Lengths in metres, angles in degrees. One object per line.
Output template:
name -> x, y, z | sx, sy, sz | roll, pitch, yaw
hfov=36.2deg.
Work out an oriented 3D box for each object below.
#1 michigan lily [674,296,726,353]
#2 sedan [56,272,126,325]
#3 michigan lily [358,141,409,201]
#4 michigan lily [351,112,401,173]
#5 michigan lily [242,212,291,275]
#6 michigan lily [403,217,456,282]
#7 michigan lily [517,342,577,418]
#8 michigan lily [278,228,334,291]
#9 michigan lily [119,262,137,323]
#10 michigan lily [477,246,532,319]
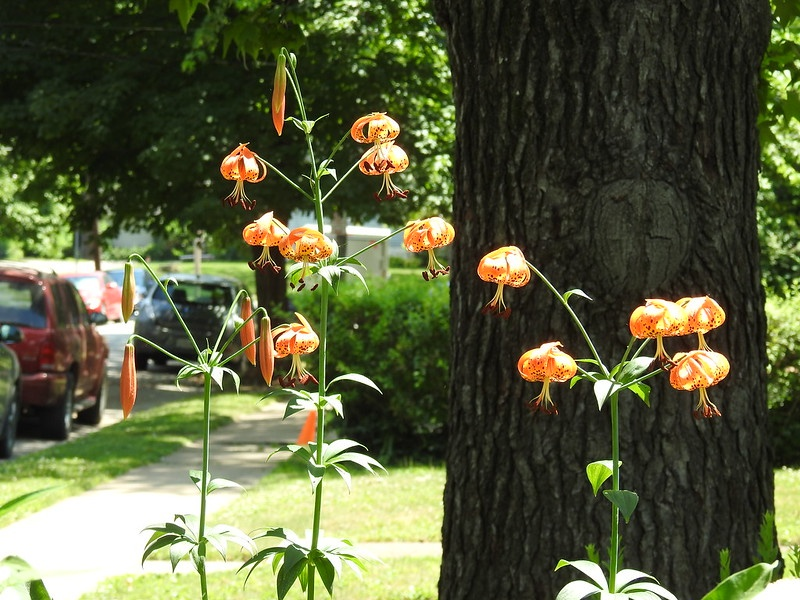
michigan lily -> 1.600, 0.120, 6.415 | 0.246, 0.348, 0.263 | -3, -1, 26
sedan -> -4.625, -0.033, 18.202 | 0.737, 0.688, 1.806 | 1, 6, -1
michigan lily -> -0.079, -0.759, 7.136 | 0.298, 0.366, 0.303 | 0, -2, -24
michigan lily -> -0.135, -0.961, 7.135 | 0.196, 0.269, 0.225 | 0, -6, -31
michigan lily -> -0.777, -0.321, 6.993 | 0.276, 0.441, 0.292 | -2, 3, -29
michigan lily -> 0.192, -0.289, 6.926 | 0.297, 0.421, 0.289 | -11, -4, 41
michigan lily -> 0.772, 0.397, 6.508 | 0.318, 0.439, 0.383 | 3, 0, 22
michigan lily -> -0.529, -0.217, 6.808 | 0.259, 0.381, 0.326 | -5, -14, 1
michigan lily -> -1.497, -0.031, 6.730 | 0.082, 0.331, 0.289 | -6, -6, -14
michigan lily -> 0.565, -0.088, 6.540 | 0.237, 0.385, 0.267 | 22, 19, 35
